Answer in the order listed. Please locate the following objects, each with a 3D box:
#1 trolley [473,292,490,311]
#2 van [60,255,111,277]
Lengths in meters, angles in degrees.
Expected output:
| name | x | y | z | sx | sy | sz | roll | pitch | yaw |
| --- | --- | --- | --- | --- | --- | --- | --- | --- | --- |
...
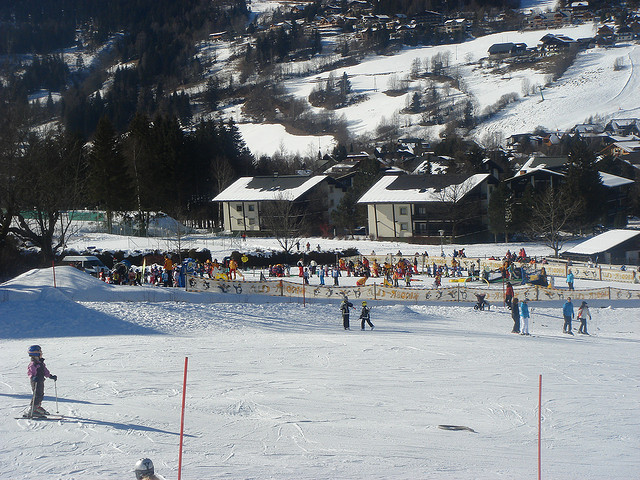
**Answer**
| name | x | y | z | sx | sy | sz | roll | pitch | yaw |
| --- | --- | --- | --- | --- | --- | --- | --- | --- | --- |
| trolley | 25.166 | 9.820 | 227.708 | 1.269 | 2.215 | 3.988 | -2 | 11 | -10 |
| van | -37.156 | 3.784 | 235.022 | 5.361 | 3.034 | 3.923 | -1 | 3 | 11 |
